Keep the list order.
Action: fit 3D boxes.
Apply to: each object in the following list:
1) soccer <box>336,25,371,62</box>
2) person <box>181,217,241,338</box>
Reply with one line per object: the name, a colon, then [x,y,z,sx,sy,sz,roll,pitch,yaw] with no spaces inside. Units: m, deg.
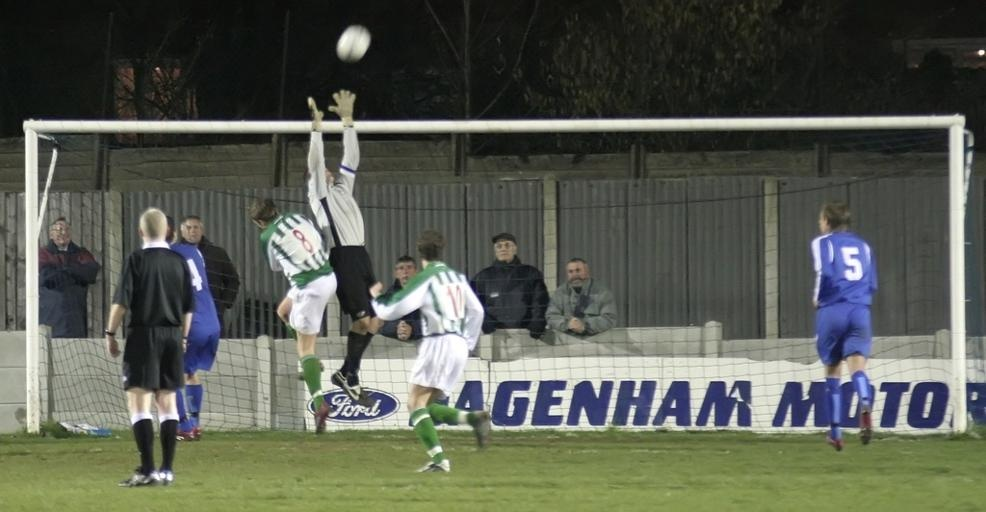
soccer: [-3.230,-4.801,45.974,0.704,0.821,0.435,1,-5,-6]
person: [-6.866,0.482,47.598,1.274,2.863,1.296,1,0,3]
